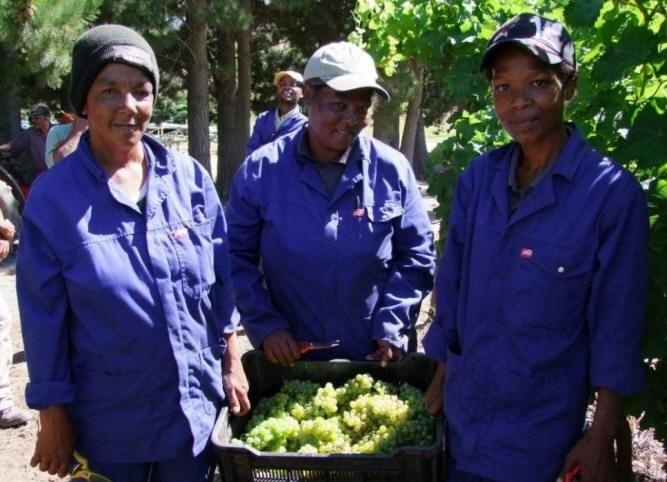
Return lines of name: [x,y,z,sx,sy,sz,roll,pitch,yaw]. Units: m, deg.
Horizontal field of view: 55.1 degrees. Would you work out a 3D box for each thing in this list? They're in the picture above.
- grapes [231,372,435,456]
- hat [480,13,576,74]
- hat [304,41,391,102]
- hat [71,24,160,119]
grapes: [0.055,0.886,3.180,0.673,0.235,0.449,-2,27,3]
hat: [0.863,-0.889,2.849,0.364,0.262,0.520,7,4,9]
hat: [0.061,-0.905,3.468,0.298,0.246,0.417,-8,17,-40]
hat: [-1.008,-0.805,2.955,0.381,0.410,0.407,-1,6,-38]
